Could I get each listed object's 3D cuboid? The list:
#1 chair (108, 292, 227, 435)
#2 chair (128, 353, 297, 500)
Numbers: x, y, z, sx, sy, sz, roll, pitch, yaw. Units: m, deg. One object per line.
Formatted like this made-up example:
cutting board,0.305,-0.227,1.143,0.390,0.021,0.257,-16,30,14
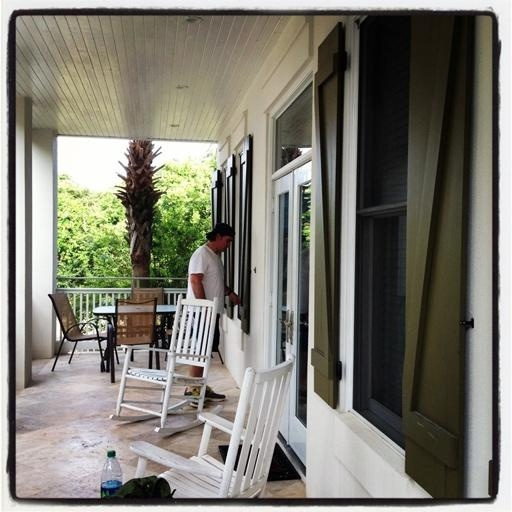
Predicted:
chair,-0.767,1.041,4.510,0.790,1.176,0.886,-5,-3,13
chair,-0.164,0.827,2.243,0.676,0.740,0.684,0,-2,30
